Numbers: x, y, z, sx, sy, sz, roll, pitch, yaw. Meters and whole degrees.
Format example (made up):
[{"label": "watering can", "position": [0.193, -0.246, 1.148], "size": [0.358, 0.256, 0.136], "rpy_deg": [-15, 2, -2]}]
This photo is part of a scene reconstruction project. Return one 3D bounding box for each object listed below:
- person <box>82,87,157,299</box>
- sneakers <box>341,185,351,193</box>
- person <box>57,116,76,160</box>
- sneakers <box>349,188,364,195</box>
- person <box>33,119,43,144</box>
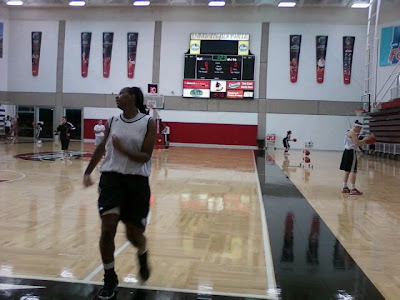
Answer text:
[{"label": "person", "position": [-0.784, 0.380, 3.103], "size": [0.673, 2.046, 0.563], "rpy_deg": [-1, 7, -23]}, {"label": "sneakers", "position": [3.474, 0.939, 7.258], "size": [0.218, 0.136, 0.104], "rpy_deg": [-3, 2, -7]}, {"label": "person", "position": [-5.104, -0.439, 11.615], "size": [0.559, 1.615, 0.764], "rpy_deg": [-2, 8, -26]}, {"label": "sneakers", "position": [3.578, 0.970, 7.080], "size": [0.369, 0.171, 0.130], "rpy_deg": [-1, 3, -2]}, {"label": "person", "position": [-12.528, -1.584, 23.654], "size": [0.730, 1.347, 0.495], "rpy_deg": [0, 7, -12]}]
